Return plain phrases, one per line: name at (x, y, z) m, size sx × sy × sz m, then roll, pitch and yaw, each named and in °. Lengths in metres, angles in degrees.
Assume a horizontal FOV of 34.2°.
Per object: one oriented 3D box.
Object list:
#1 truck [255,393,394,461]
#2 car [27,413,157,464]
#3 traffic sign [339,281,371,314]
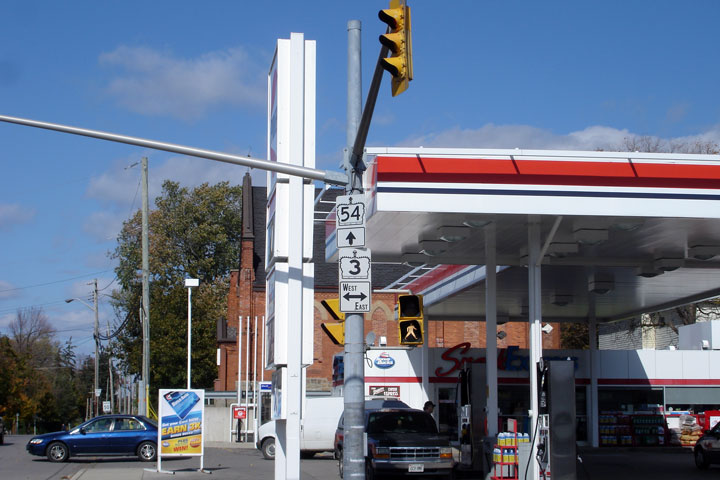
truck at (-1.564, 8.499, 55.067) m, size 6.463 × 2.838 × 3.448 m, roll 1°, pitch -7°, yaw -1°
car at (-12.291, 9.170, 54.281) m, size 5.789 × 1.844 × 2.451 m, roll 3°, pitch -13°, yaw -2°
traffic sign at (-0.185, 1.896, 38.900) m, size 1.062 × 0.988 × 0.107 m, roll 0°, pitch -10°, yaw -1°
